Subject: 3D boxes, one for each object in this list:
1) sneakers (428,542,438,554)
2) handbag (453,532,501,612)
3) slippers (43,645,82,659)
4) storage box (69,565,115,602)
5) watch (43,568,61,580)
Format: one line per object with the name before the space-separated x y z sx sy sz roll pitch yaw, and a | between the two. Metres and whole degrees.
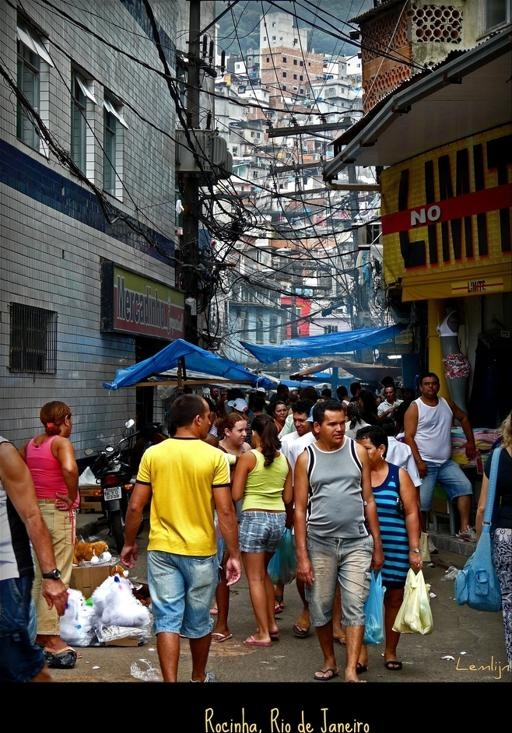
sneakers | 1.993 2.037 8.728 0.068 0.084 0.202 2 3 10
handbag | 1.138 1.043 3.936 0.144 0.470 0.259 -11 15 -43
slippers | -1.204 1.796 4.865 0.190 0.069 0.089 -5 -5 29
storage box | -1.378 1.782 6.427 0.258 0.252 0.259 -1 -2 4
watch | -0.813 0.820 3.059 0.069 0.042 0.070 -11 -15 26
